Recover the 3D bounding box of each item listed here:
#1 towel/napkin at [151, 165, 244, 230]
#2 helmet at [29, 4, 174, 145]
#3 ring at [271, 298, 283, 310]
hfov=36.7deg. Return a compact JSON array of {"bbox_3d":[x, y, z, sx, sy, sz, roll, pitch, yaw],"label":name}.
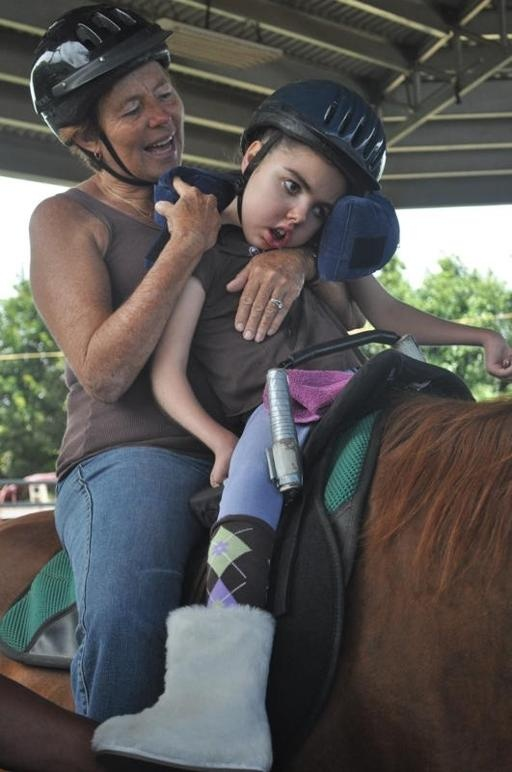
[{"bbox_3d":[-0.089,-0.319,1.237,0.112,0.040,0.142,26,39,26],"label":"towel/napkin"},{"bbox_3d":[-0.273,-0.540,1.377,0.232,0.213,0.195,16,16,17],"label":"helmet"},{"bbox_3d":[0.028,-0.113,1.078,0.018,0.006,0.013,22,11,-14],"label":"ring"}]
